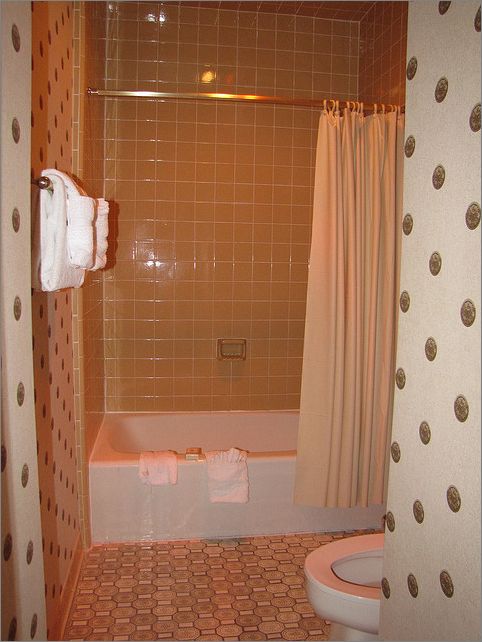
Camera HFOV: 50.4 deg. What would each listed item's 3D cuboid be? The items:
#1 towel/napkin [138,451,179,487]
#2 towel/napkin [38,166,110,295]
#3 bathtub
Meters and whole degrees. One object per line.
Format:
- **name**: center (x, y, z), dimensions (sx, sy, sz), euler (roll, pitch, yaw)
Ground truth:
- **towel/napkin**: center (-0.387, 0.693, 2.398), dimensions (0.179, 0.126, 0.152), euler (0, 4, -10)
- **towel/napkin**: center (-0.430, -0.209, 1.260), dimensions (0.099, 0.379, 0.227), euler (-2, -3, 19)
- **bathtub**: center (-0.052, 0.813, 2.805), dimensions (1.462, 0.409, 0.899), euler (0, 4, -7)
